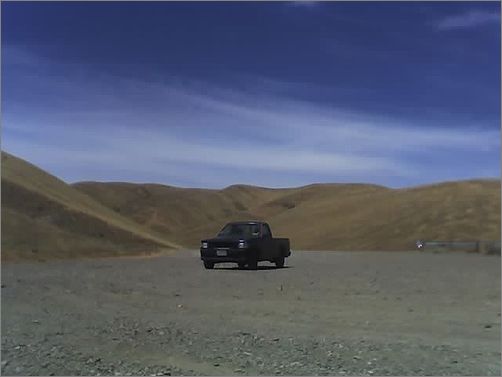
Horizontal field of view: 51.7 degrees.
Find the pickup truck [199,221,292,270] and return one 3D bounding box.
[{"bbox_3d":[-0.038,2.460,23.029,2.052,1.583,3.804,-4,-10,23],"label":"pickup truck"}]
